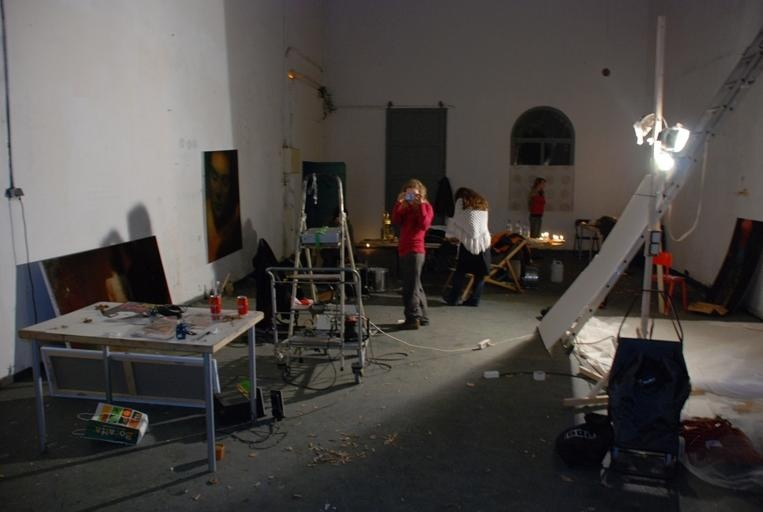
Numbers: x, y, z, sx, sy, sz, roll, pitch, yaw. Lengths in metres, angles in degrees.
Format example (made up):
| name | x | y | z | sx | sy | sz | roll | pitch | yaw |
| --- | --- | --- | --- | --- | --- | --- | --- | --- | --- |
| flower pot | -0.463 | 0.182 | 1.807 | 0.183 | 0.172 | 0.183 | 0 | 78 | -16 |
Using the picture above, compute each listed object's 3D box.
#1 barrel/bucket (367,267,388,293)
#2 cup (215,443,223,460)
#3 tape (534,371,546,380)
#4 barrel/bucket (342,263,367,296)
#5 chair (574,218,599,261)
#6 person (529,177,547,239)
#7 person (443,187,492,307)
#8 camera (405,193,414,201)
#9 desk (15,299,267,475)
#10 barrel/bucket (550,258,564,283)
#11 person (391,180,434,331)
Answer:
| name | x | y | z | sx | sy | sz | roll | pitch | yaw |
| --- | --- | --- | --- | --- | --- | --- | --- | --- | --- |
| barrel/bucket | -0.077 | 0.431 | 9.783 | 0.360 | 0.394 | 0.373 | 0 | 4 | 0 |
| cup | -1.435 | 1.755 | 4.966 | 0.063 | 0.132 | 0.110 | -2 | 11 | -8 |
| tape | 1.762 | 1.362 | 6.291 | 0.090 | 0.061 | 0.093 | 0 | 4 | -3 |
| barrel/bucket | -0.399 | 0.346 | 7.899 | 0.302 | 0.589 | 0.309 | -1 | 50 | 1 |
| chair | 4.725 | -0.407 | 13.133 | 0.516 | 0.679 | 0.491 | 1 | 5 | -36 |
| person | 3.605 | -1.170 | 13.136 | 0.387 | 1.320 | 0.877 | 2 | 11 | 14 |
| person | 1.341 | -0.122 | 8.707 | 0.642 | 1.870 | 0.600 | 9 | 15 | 42 |
| camera | 0.371 | -0.807 | 7.532 | 0.161 | 0.144 | 0.072 | 2 | 11 | 15 |
| desk | -2.691 | 1.165 | 5.663 | 1.310 | 1.156 | 1.886 | 8 | 3 | -17 |
| barrel/bucket | 3.275 | 0.303 | 10.524 | 0.225 | 0.379 | 0.512 | 2 | 11 | 15 |
| person | 0.415 | -0.031 | 7.848 | 0.531 | 2.069 | 0.636 | 0 | 11 | 2 |
